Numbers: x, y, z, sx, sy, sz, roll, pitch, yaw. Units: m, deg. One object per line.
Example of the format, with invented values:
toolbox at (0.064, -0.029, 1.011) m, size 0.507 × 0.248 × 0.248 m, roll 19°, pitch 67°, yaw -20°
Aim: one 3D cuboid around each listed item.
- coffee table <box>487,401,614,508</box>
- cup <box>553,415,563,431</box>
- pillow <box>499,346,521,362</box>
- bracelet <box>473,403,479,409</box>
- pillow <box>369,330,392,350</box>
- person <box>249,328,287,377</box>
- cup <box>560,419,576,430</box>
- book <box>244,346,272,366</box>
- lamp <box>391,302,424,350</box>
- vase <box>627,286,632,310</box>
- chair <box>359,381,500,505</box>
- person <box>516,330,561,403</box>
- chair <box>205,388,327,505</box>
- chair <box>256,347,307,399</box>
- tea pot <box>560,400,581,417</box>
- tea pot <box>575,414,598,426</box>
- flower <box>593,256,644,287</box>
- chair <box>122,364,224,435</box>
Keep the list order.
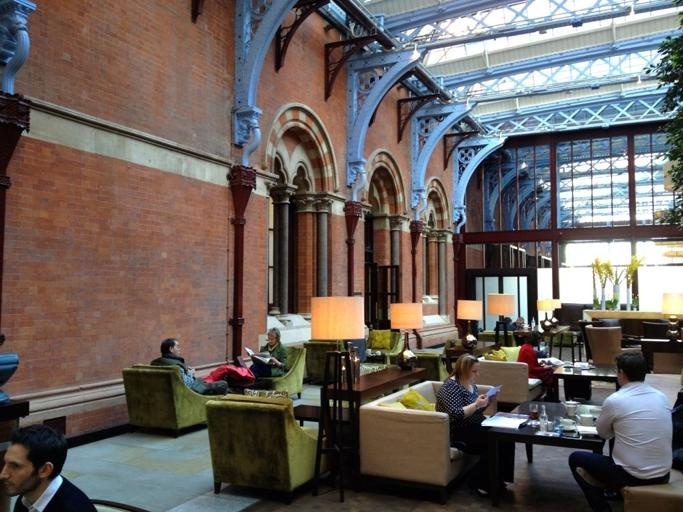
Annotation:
coffee table at (2.083, 2.041, 6.037) m, size 0.933 × 0.630 × 1.034 m, roll -3°, pitch -7°, yaw 29°
cup at (2.313, 1.795, 5.936) m, size 0.087 × 0.119 × 0.121 m, roll -4°, pitch 11°, yaw 10°
pillow at (3.117, 1.817, 10.273) m, size 0.358 × 0.309 × 0.108 m, roll 20°, pitch -38°, yaw -36°
bracelet at (1.509, 1.684, 6.232) m, size 0.036 × 0.049 × 0.049 m, roll -3°, pitch -11°, yaw 4°
pillow at (0.991, 2.148, 14.108) m, size 0.626 × 0.617 × 0.247 m, roll -1°, pitch -23°, yaw 14°
person at (-1.323, 1.738, 9.749) m, size 0.604 × 0.880 × 0.809 m, roll 4°, pitch -2°, yaw 35°
cup at (2.372, 1.764, 5.806) m, size 0.104 × 0.098 × 0.107 m, roll -1°, pitch -1°, yaw 0°
book at (-1.367, 1.758, 9.649) m, size 0.284 × 0.136 × 0.372 m, roll 18°, pitch -13°, yaw 10°
lamp at (0.987, 1.040, 8.261) m, size 0.407 × 0.704 × 0.531 m, roll -3°, pitch 7°, yaw -15°
vase at (9.475, 1.370, 18.279) m, size 0.111 × 0.755 × 0.307 m, roll 4°, pitch 8°, yaw 37°
chair at (0.793, 2.022, 6.139) m, size 0.834 × 0.785 × 1.492 m, roll -2°, pitch -3°, yaw 27°
person at (3.473, 1.981, 9.853) m, size 0.710 × 1.191 × 0.507 m, roll 3°, pitch 11°, yaw -4°
chair at (-0.768, 2.026, 6.222) m, size 0.979 × 1.008 × 1.118 m, roll -2°, pitch -6°, yaw 24°
chair at (-0.961, 2.076, 9.835) m, size 0.678 × 0.981 × 0.976 m, roll -4°, pitch -12°, yaw 37°
tea pot at (2.565, 1.687, 6.189) m, size 0.235 × 0.197 × 0.150 m, roll 0°, pitch 2°, yaw 21°
tea pot at (2.600, 1.726, 5.894) m, size 0.169 × 0.122 × 0.130 m, roll -1°, pitch -2°, yaw 11°
flower at (9.388, 0.586, 19.211) m, size 1.676 × 1.169 × 1.565 m, roll 2°, pitch -6°, yaw -6°
chair at (-2.326, 2.049, 8.153) m, size 0.924 × 1.042 × 1.342 m, roll -2°, pitch -3°, yaw 28°
